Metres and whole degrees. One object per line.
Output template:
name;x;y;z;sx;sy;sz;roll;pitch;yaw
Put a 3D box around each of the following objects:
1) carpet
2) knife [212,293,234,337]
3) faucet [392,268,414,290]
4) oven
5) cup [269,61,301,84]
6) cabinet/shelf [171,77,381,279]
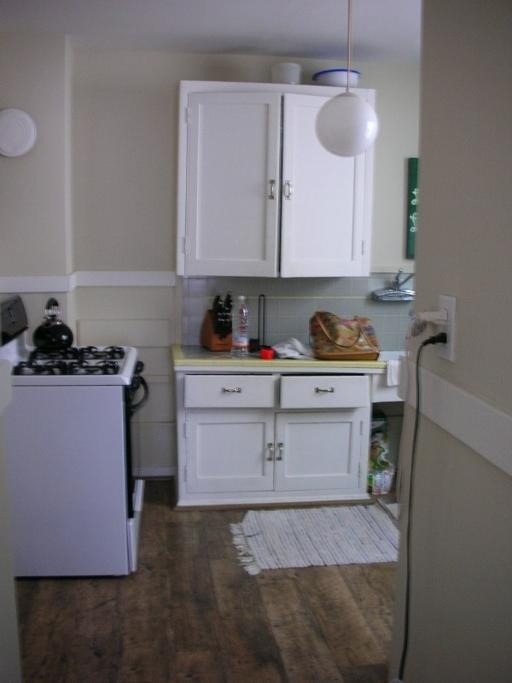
carpet;0.267;0.863;2.561;0.625;0.030;0.559;1;11;-11
knife;-0.177;-0.134;3.037;0.104;0.233;0.080;0;7;-5
faucet;0.822;-0.345;3.264;0.114;0.109;0.131;1;7;2
oven;-0.659;0.456;2.600;0.592;0.977;0.663;-1;8;-8
cup;0.154;-1.317;2.906;0.118;0.083;0.125;2;20;-1
cabinet/shelf;0.083;-0.770;2.780;0.881;0.904;0.357;2;7;-4
